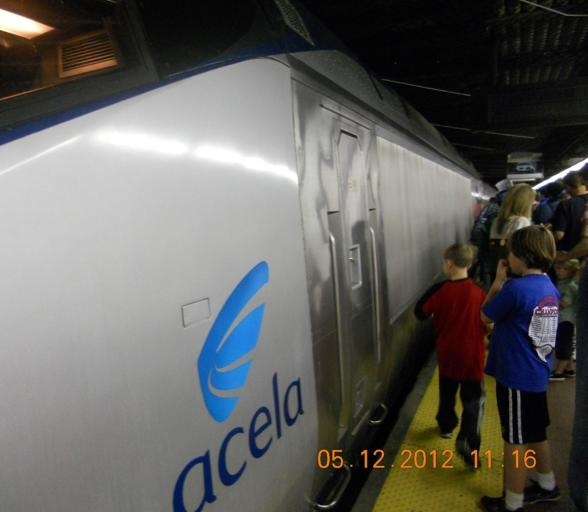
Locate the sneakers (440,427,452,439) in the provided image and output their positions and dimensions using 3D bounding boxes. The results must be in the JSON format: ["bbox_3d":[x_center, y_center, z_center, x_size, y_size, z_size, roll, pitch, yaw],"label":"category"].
[{"bbox_3d":[1.175,1.364,3.323,0.100,0.132,0.066,-3,-11,24],"label":"sneakers"}]

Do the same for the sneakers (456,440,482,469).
[{"bbox_3d":[1.206,1.363,2.962,0.066,0.227,0.144,-15,-13,26],"label":"sneakers"}]

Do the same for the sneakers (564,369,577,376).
[{"bbox_3d":[2.617,1.110,4.074,0.120,0.061,0.048,-4,0,30],"label":"sneakers"}]

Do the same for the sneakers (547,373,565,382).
[{"bbox_3d":[2.464,1.146,4.017,0.155,0.081,0.065,2,-1,8],"label":"sneakers"}]
